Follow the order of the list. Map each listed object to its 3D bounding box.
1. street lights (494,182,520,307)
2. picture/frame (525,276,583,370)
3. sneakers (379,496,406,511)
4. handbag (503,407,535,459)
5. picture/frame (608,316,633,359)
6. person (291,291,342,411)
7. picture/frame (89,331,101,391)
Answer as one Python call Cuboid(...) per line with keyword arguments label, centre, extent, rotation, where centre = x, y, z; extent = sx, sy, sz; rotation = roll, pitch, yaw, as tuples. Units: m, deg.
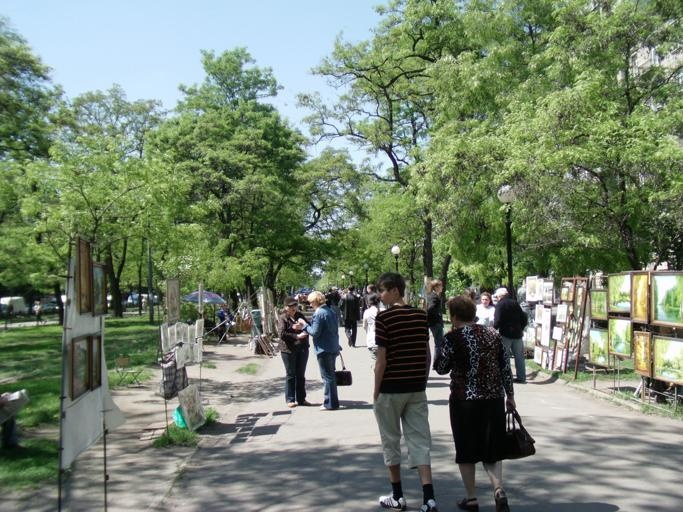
Cuboid(label="street lights", centre=(4.809, -0.158, 16.070), extent=(0.506, 3.625, 0.532), rotation=(-2, 5, 13))
Cuboid(label="picture/frame", centre=(6.052, 1.971, 15.986), extent=(0.107, 2.462, 2.375), rotation=(7, -6, -14))
Cuboid(label="sneakers", centre=(0.626, 3.049, 6.970), extent=(0.346, 0.168, 0.135), rotation=(2, 0, 29))
Cuboid(label="handbag", centre=(2.162, 2.218, 6.958), extent=(0.298, 0.631, 0.637), rotation=(-16, -22, 27))
Cuboid(label="picture/frame", centre=(6.227, 1.843, 12.589), extent=(0.825, 0.910, 0.046), rotation=(6, -4, -23))
Cuboid(label="person", centre=(-0.453, 1.978, 11.894), extent=(0.809, 2.502, 1.194), rotation=(-1, -5, -3))
Cuboid(label="picture/frame", centre=(-3.284, 1.429, 7.502), extent=(0.082, 0.669, 0.453), rotation=(0, -5, -17))
